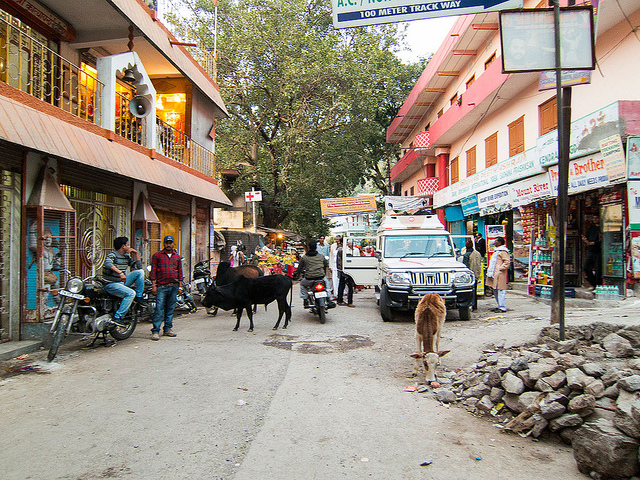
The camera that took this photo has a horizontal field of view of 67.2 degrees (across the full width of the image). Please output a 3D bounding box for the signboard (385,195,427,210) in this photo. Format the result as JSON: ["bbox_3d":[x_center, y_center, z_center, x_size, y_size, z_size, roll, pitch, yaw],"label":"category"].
[{"bbox_3d":[4.295,-1.827,24.434,2.039,0.658,0.941,5,11,30],"label":"signboard"}]

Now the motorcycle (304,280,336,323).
[{"bbox_3d":[0.070,1.504,11.899,0.621,0.934,0.789,-4,11,-21],"label":"motorcycle"}]

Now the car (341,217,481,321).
[{"bbox_3d":[2.548,0.735,12.749,2.737,1.613,3.584,0,-3,-1],"label":"car"}]

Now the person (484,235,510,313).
[{"bbox_3d":[4.568,0.927,12.267,0.551,1.966,0.949,4,11,19],"label":"person"}]

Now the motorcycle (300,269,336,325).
[{"bbox_3d":[0.053,1.416,11.958,0.713,1.188,1.175,-3,10,-18],"label":"motorcycle"}]

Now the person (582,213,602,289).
[{"bbox_3d":[7.799,0.484,13.694,0.526,1.803,0.361,7,13,33],"label":"person"}]

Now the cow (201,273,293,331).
[{"bbox_3d":[-1.589,1.463,11.152,1.966,1.283,0.758,-1,10,-8],"label":"cow"}]

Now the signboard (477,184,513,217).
[{"bbox_3d":[6.811,-1.526,18.563,0.065,0.776,1.499,-15,-6,-13],"label":"signboard"}]

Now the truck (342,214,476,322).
[{"bbox_3d":[2.477,0.542,12.888,2.732,1.613,3.592,-1,-3,0],"label":"truck"}]

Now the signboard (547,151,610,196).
[{"bbox_3d":[7.118,-1.787,13.300,0.074,0.890,2.019,-19,2,-12],"label":"signboard"}]

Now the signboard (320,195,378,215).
[{"bbox_3d":[1.355,-1.644,22.576,2.451,0.938,0.654,1,10,3],"label":"signboard"}]

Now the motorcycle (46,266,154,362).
[{"bbox_3d":[-4.356,1.327,9.545,1.349,1.451,2.771,1,0,12],"label":"motorcycle"}]

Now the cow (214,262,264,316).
[{"bbox_3d":[-1.911,1.186,12.241,0.566,1.365,1.919,7,-16,-44],"label":"cow"}]

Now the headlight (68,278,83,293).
[{"bbox_3d":[-4.376,0.819,8.625,0.240,0.238,0.154,0,9,-5],"label":"headlight"}]

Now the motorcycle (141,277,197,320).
[{"bbox_3d":[-3.892,1.547,12.804,0.680,0.661,1.212,-4,-4,3],"label":"motorcycle"}]

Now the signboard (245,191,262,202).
[{"bbox_3d":[-3.383,-2.247,24.869,0.644,0.551,1.524,-2,9,-14],"label":"signboard"}]
